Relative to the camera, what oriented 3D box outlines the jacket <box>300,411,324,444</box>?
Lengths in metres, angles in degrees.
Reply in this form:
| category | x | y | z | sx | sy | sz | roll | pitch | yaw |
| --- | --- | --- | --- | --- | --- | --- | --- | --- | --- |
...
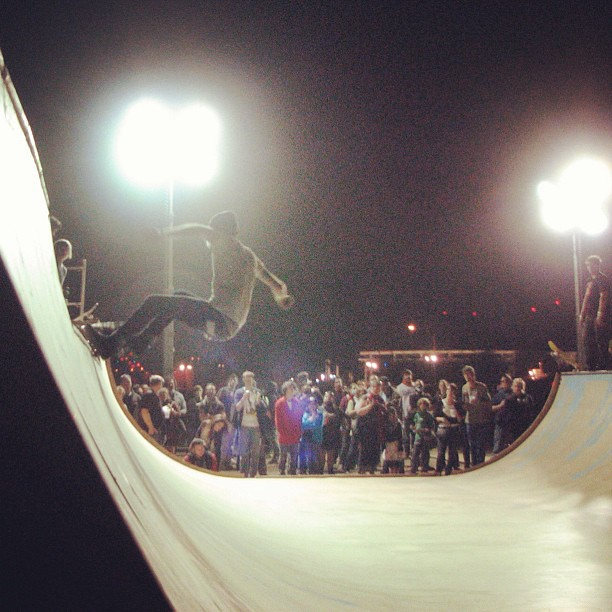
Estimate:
| category | x | y | z | sx | sy | sz | roll | pitch | yaw |
| --- | --- | --- | --- | --- | --- | --- | --- | --- | --- |
| jacket | 0.056 | 1.545 | 9.547 | 0.326 | 0.395 | 0.115 | -1 | -3 | 0 |

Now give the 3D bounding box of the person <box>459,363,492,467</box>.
| category | x | y | z | sx | sy | sz | roll | pitch | yaw |
| --- | --- | --- | --- | --- | --- | --- | --- | --- | --- |
| person | 2.149 | 1.415 | 9.631 | 0.331 | 1.147 | 0.524 | -2 | 9 | -27 |

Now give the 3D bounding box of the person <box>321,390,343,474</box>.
| category | x | y | z | sx | sy | sz | roll | pitch | yaw |
| --- | --- | --- | --- | --- | --- | --- | --- | --- | --- |
| person | 0.330 | 1.736 | 9.972 | 0.303 | 1.169 | 1.184 | 3 | 8 | 3 |

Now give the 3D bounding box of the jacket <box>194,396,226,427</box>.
| category | x | y | z | sx | sy | sz | roll | pitch | yaw |
| --- | --- | --- | --- | --- | --- | --- | --- | --- | --- |
| jacket | -1.277 | 1.428 | 9.987 | 0.470 | 0.457 | 0.257 | 6 | 9 | 19 |

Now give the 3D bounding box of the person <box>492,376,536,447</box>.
| category | x | y | z | sx | sy | sz | roll | pitch | yaw |
| --- | --- | --- | --- | --- | --- | --- | --- | --- | --- |
| person | 2.636 | 1.352 | 9.582 | 0.580 | 0.821 | 0.335 | 2 | 8 | -3 |

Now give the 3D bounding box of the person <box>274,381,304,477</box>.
| category | x | y | z | sx | sy | sz | roll | pitch | yaw |
| --- | --- | --- | --- | --- | --- | --- | --- | --- | --- |
| person | -0.222 | 1.576 | 9.521 | 0.359 | 1.233 | 0.678 | 2 | 8 | -1 |

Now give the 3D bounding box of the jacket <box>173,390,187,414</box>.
| category | x | y | z | sx | sy | sz | roll | pitch | yaw |
| --- | --- | --- | --- | --- | --- | --- | --- | --- | --- |
| jacket | -1.642 | 1.247 | 9.932 | 0.171 | 0.258 | 0.221 | -7 | 29 | -15 |

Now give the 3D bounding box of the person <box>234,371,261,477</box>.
| category | x | y | z | sx | sy | sz | roll | pitch | yaw |
| --- | --- | --- | --- | --- | --- | --- | --- | --- | --- |
| person | -0.708 | 1.468 | 9.329 | 0.325 | 1.218 | 0.682 | 1 | 8 | -11 |

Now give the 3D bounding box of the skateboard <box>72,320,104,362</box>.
| category | x | y | z | sx | sy | sz | roll | pitch | yaw |
| --- | --- | --- | --- | --- | --- | --- | --- | --- | --- |
| skateboard | -1.936 | 0.321 | 6.673 | 0.126 | 0.313 | 0.349 | -15 | 40 | -6 |

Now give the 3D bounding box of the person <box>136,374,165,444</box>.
| category | x | y | z | sx | sy | sz | roll | pitch | yaw |
| --- | --- | --- | --- | --- | --- | --- | --- | --- | --- |
| person | -1.892 | 1.258 | 9.121 | 0.320 | 0.784 | 0.272 | 0 | 8 | -14 |

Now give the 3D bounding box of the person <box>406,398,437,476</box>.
| category | x | y | z | sx | sy | sz | roll | pitch | yaw |
| --- | --- | --- | --- | --- | --- | --- | --- | --- | --- |
| person | 1.467 | 1.733 | 9.588 | 0.341 | 1.072 | 1.055 | 4 | 8 | 10 |

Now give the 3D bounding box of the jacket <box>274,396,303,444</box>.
| category | x | y | z | sx | sy | sz | roll | pitch | yaw |
| --- | --- | --- | --- | --- | --- | --- | --- | --- | --- |
| jacket | -0.206 | 1.428 | 9.450 | 0.415 | 0.642 | 0.323 | 8 | -17 | -31 |
